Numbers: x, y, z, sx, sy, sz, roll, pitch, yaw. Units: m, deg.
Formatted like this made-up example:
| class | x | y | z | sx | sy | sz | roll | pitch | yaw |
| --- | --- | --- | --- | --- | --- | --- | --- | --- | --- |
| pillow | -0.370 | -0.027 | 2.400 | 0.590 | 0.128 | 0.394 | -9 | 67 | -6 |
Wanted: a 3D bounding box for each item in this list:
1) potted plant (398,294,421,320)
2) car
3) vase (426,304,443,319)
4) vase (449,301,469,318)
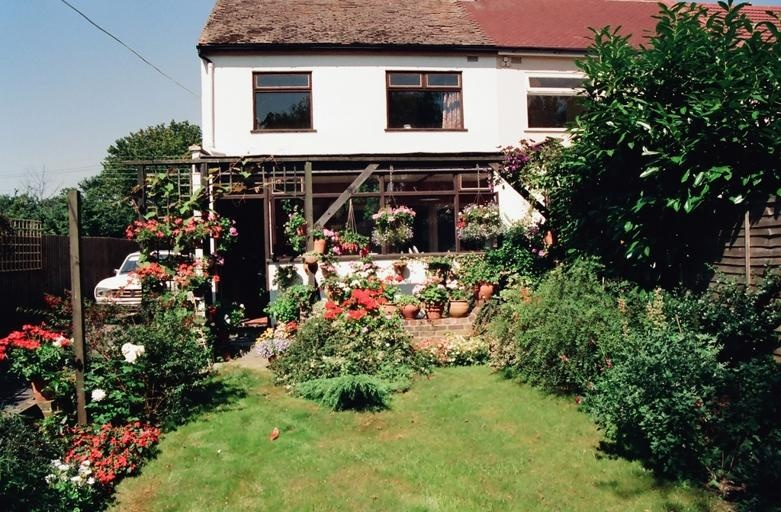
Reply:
| class | x | y | z | sx | sy | sz | roll | pitch | yaw |
| --- | --- | --- | --- | --- | --- | --- | --- | --- | --- |
| potted plant | 0.459 | 1.342 | 17.734 | 0.512 | 0.557 | 0.533 | 1 | -4 | -23 |
| car | -7.847 | 0.657 | 20.169 | 1.634 | 1.876 | 6.443 | 0 | 5 | -25 |
| vase | 1.139 | 1.454 | 17.821 | 0.332 | 0.286 | 0.358 | -1 | -4 | 6 |
| vase | 1.791 | 1.384 | 17.787 | 0.398 | 0.312 | 0.410 | 0 | -7 | -10 |
